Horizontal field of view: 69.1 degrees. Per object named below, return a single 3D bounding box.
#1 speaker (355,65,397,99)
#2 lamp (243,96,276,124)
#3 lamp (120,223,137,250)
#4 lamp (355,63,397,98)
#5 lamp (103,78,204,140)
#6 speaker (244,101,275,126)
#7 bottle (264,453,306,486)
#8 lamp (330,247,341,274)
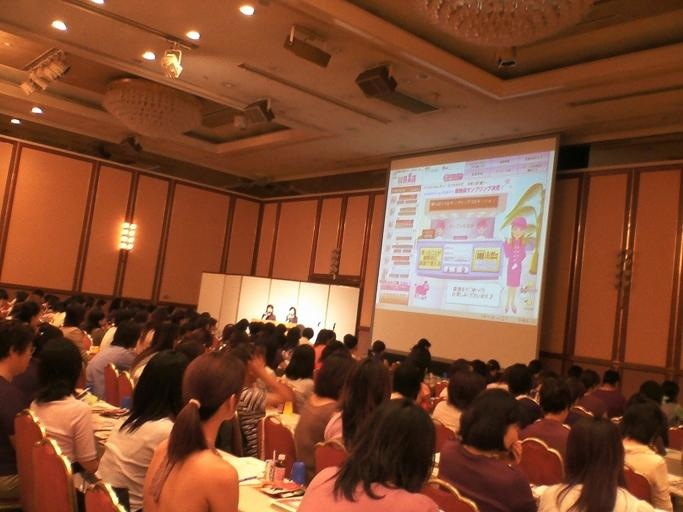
[{"bbox_3d":[0.495,-2.497,7.032,0.340,0.194,0.319,-20,-44,39],"label":"speaker"},{"bbox_3d":[-1.368,-2.514,8.504,0.518,0.413,0.199,-13,28,31],"label":"lamp"},{"bbox_3d":[-5.422,-0.483,12.550,0.398,0.660,0.153,9,-5,-30],"label":"lamp"},{"bbox_3d":[0.491,-2.511,7.011,0.327,0.200,0.352,30,-36,-30],"label":"lamp"},{"bbox_3d":[-3.362,-2.651,8.861,1.180,0.464,1.205,8,-6,-20],"label":"lamp"},{"bbox_3d":[-1.400,-2.420,8.397,0.436,0.475,0.213,3,36,34],"label":"speaker"},{"bbox_3d":[-0.340,1.305,3.014,0.246,0.150,0.210,8,-6,-8],"label":"bottle"},{"bbox_3d":[-0.159,0.140,12.373,0.103,0.667,0.349,11,-7,-39],"label":"lamp"}]
